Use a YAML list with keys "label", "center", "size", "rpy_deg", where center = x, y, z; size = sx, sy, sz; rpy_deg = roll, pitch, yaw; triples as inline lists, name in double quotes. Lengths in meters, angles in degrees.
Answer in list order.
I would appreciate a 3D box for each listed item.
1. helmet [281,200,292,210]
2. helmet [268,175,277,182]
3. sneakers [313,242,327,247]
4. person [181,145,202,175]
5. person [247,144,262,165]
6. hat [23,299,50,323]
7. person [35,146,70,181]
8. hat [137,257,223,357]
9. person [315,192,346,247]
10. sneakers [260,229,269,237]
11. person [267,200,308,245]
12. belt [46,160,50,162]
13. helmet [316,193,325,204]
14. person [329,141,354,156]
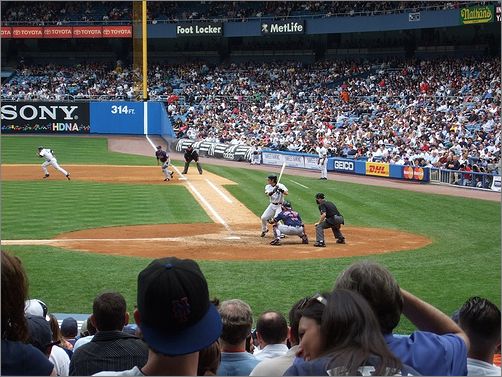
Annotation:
- label: "helmet"
  center: [1.032, 0.459, 18.049]
  size: [0.198, 0.245, 0.246]
  rpy_deg: [9, -21, -30]
- label: "helmet"
  center: [0.584, -0.292, 17.928]
  size: [0.219, 0.120, 0.161]
  rpy_deg: [14, 37, 13]
- label: "sneakers"
  center: [1.889, 1.542, 17.382]
  size: [0.321, 0.134, 0.117]
  rpy_deg: [6, 12, 5]
- label: "person"
  center: [-2.975, -1.344, 30.850]
  size: [0.931, 1.374, 1.760]
  rpy_deg: [1, 5, 0]
- label: "person"
  center: [0.204, -2.054, 37.682]
  size: [0.598, 1.169, 0.881]
  rpy_deg: [-2, 6, -27]
- label: "hat"
  center: [-2.581, 1.471, 7.493]
  size: [0.255, 0.199, 0.366]
  rpy_deg: [15, 1, 5]
- label: "person"
  center: [-9.210, -1.236, 29.165]
  size: [1.736, 1.477, 0.799]
  rpy_deg: [7, 16, 8]
- label: "hat"
  center: [-0.663, 1.072, 5.602]
  size: [0.678, 0.494, 0.887]
  rpy_deg: [-12, 44, -20]
- label: "person"
  center: [2.235, 0.866, 17.760]
  size: [0.854, 1.430, 1.433]
  rpy_deg: [1, 5, 8]
- label: "sneakers"
  center: [0.384, 1.311, 18.595]
  size: [0.096, 0.119, 0.284]
  rpy_deg: [8, 34, 31]
- label: "person"
  center: [1.010, 0.963, 17.844]
  size: [1.103, 1.188, 1.151]
  rpy_deg: [-1, 4, -23]
- label: "belt"
  center: [-9.350, -1.268, 28.889]
  size: [0.110, 0.125, 0.254]
  rpy_deg: [-2, 6, -28]
- label: "helmet"
  center: [1.940, 0.272, 17.697]
  size: [0.275, 0.288, 0.255]
  rpy_deg: [4, 7, 41]
- label: "person"
  center: [5.013, -2.188, 35.060]
  size: [1.509, 0.767, 0.394]
  rpy_deg: [5, 7, 43]
